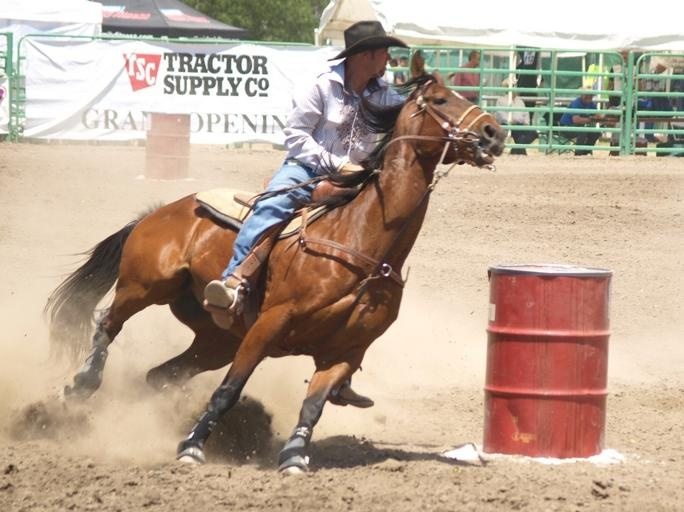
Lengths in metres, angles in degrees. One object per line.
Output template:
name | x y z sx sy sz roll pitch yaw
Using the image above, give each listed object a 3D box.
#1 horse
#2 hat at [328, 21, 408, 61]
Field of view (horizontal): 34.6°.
horse | -0.730 -0.046 10.337 4.085 3.744 1.589 6 10 30
hat | 0.272 -2.016 10.163 0.510 0.200 0.409 -18 6 1
